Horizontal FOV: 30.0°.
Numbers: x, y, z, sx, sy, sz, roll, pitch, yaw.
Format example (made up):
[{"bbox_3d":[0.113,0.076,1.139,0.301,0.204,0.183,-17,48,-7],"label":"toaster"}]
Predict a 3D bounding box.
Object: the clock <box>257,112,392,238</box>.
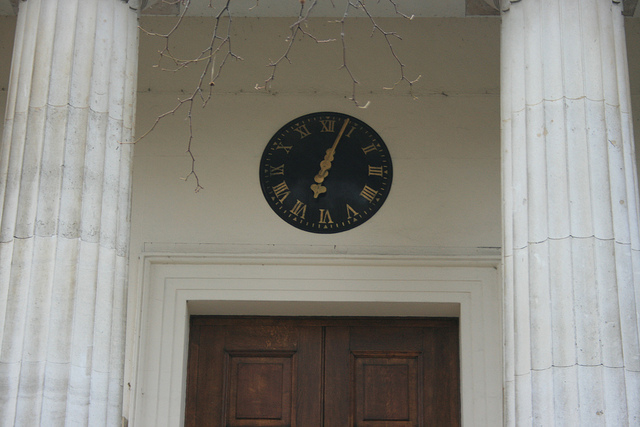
[{"bbox_3d":[0.038,-0.216,7.688,0.595,0.611,0.039,22,-14,13],"label":"clock"}]
